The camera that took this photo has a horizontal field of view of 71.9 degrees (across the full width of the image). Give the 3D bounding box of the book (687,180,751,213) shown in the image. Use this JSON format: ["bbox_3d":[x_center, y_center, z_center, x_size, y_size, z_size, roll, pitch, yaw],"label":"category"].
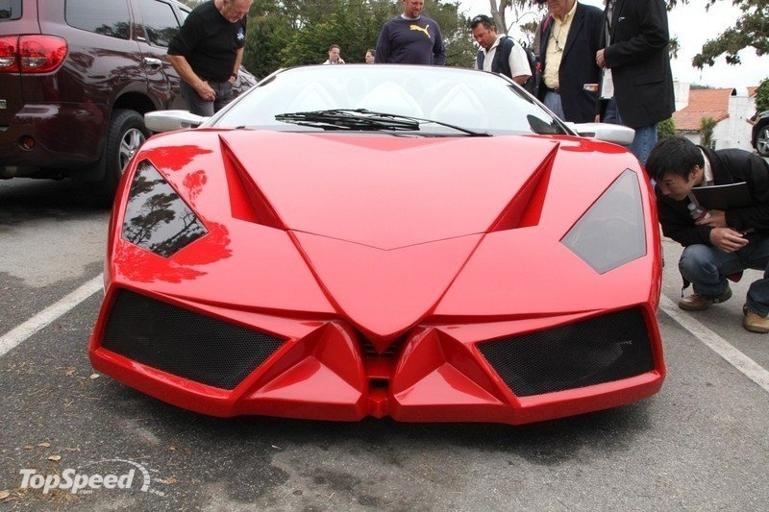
[{"bbox_3d":[1.967,-0.354,3.087,0.207,0.205,0.049,-2,52,28],"label":"book"}]

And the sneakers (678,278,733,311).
[{"bbox_3d":[2.050,0.235,3.370,0.259,0.123,0.097,-16,39,6],"label":"sneakers"}]

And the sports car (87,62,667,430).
[{"bbox_3d":[0.030,-0.384,3.510,2.223,1.083,3.877,3,14,3],"label":"sports car"}]
